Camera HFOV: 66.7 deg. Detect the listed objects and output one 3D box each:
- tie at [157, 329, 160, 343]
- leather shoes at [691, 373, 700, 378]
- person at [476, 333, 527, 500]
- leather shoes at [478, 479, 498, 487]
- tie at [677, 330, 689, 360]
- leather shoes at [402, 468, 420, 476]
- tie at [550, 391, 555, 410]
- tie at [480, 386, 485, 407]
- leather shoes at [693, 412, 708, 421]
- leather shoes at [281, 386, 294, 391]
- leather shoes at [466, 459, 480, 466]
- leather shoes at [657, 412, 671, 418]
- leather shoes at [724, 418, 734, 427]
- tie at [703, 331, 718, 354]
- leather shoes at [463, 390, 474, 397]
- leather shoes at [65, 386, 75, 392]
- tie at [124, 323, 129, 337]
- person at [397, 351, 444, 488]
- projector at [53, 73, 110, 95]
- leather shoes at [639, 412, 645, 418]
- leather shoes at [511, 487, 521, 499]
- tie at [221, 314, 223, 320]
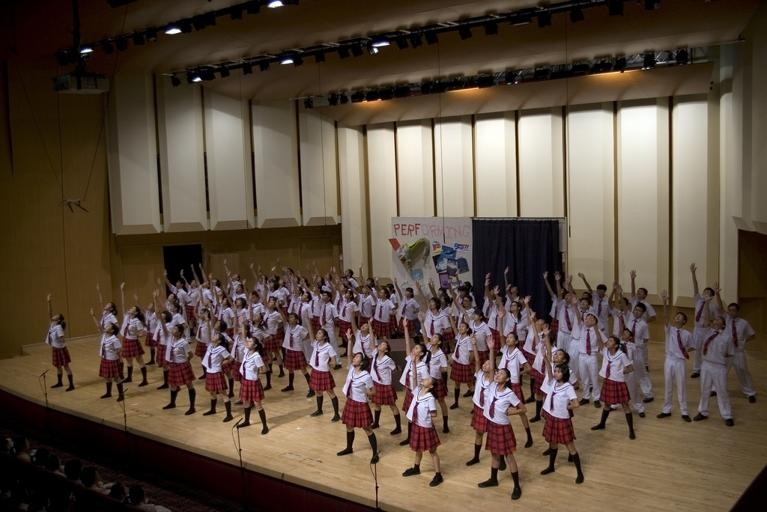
[{"bbox_3d":[-5.216,1.857,13.495,0.140,0.221,0.050,5,4,39],"label":"tie"},{"bbox_3d":[6.856,2.623,12.792,0.219,0.106,0.086,-4,-5,11],"label":"leather shoes"},{"bbox_3d":[1.925,2.786,9.446,0.699,1.882,0.920,1,14,15],"label":"person"},{"bbox_3d":[1.723,3.701,9.555,0.246,0.101,0.145,3,-2,3],"label":"leather shoes"},{"bbox_3d":[5.615,1.656,10.927,0.077,0.718,0.172,-23,22,26],"label":"tie"},{"bbox_3d":[0.483,3.651,9.908,0.244,0.108,0.133,0,-1,-7],"label":"leather shoes"},{"bbox_3d":[2.745,2.384,9.506,0.075,0.245,0.078,2,14,18],"label":"tie"},{"bbox_3d":[1.619,2.340,9.641,0.052,0.248,0.173,1,13,9],"label":"tie"},{"bbox_3d":[6.056,3.056,11.156,0.325,0.155,0.118,-1,-3,-20],"label":"leather shoes"},{"bbox_3d":[-2.195,3.007,13.219,0.210,0.095,0.123,1,-2,2],"label":"leather shoes"},{"bbox_3d":[1.544,3.525,10.053,0.226,0.192,0.100,3,-4,-6],"label":"leather shoes"},{"bbox_3d":[5.405,3.066,11.248,0.265,0.119,0.095,0,-5,-5],"label":"leather shoes"},{"bbox_3d":[6.480,3.111,10.886,0.091,0.119,0.170,-5,-25,11],"label":"leather shoes"},{"bbox_3d":[6.082,1.587,10.845,0.134,0.489,0.107,24,15,32],"label":"tie"},{"bbox_3d":[1.816,2.932,12.451,0.303,0.137,0.106,-3,-7,40],"label":"leather shoes"},{"bbox_3d":[-7.289,3.088,13.534,0.189,0.156,0.085,3,-4,-14],"label":"leather shoes"},{"bbox_3d":[-5.892,1.715,13.407,0.066,0.278,0.186,0,9,-4],"label":"tie"},{"bbox_3d":[0.650,2.688,9.782,0.637,2.001,0.998,-2,14,2],"label":"person"},{"bbox_3d":[-6.724,-3.784,13.105,0.734,0.294,0.737,-4,3,-15],"label":"projector"},{"bbox_3d":[5.025,3.076,11.291,0.109,0.119,0.070,-3,1,24],"label":"leather shoes"},{"bbox_3d":[2.115,3.727,9.249,0.150,0.138,0.218,2,15,17],"label":"leather shoes"},{"bbox_3d":[-3.917,1.494,14.111,0.051,0.108,0.040,3,-12,2],"label":"tie"}]
